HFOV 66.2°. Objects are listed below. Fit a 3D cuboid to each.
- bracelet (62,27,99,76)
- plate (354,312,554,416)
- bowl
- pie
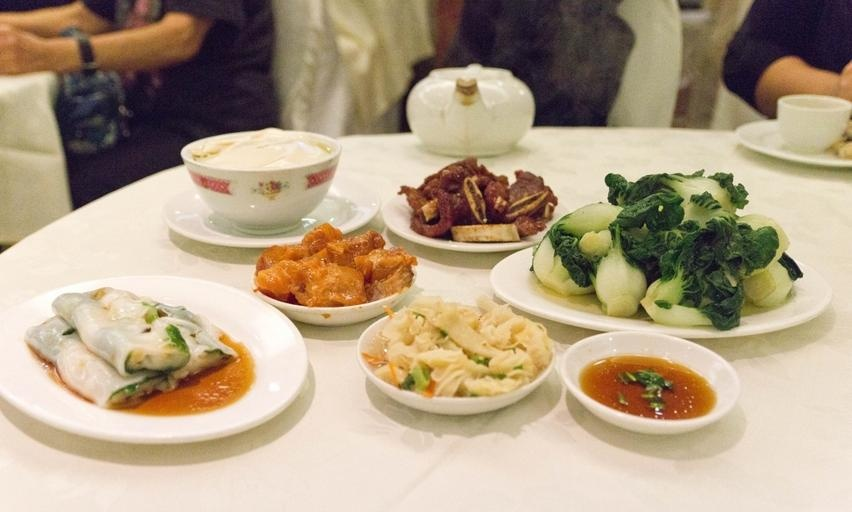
[{"bbox_3d":[-2.299,-1.374,4.427,0.325,0.271,0.124,0,8,41],"label":"bracelet"},{"bbox_3d":[0.083,0.259,1.767,0.386,0.081,0.350,-6,20,-18],"label":"plate"},{"bbox_3d":[-0.612,-0.322,2.452,0.479,0.232,0.460,0,15,0],"label":"bowl"},{"bbox_3d":[-0.895,0.246,1.872,0.430,0.142,0.376,19,28,34],"label":"pie"}]
